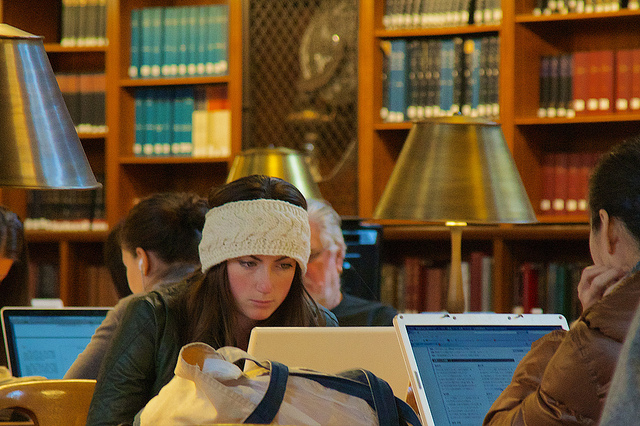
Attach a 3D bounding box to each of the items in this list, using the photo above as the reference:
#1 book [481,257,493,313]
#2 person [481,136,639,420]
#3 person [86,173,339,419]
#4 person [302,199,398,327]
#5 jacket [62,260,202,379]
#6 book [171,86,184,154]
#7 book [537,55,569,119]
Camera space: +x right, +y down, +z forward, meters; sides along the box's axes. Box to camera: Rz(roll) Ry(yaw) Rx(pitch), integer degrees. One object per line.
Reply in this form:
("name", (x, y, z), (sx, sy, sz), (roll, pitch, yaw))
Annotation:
("book", (1.062, 0.445, 5.639), (0.098, 0.343, 0.320), (0, -1, 17))
("person", (0.770, 0.250, 2.785), (0.527, 0.986, 1.099), (0, 3, 11))
("person", (-0.402, 0.337, 3.583), (0.767, 0.893, 0.422), (12, -4, -41))
("person", (0.171, 0.312, 5.128), (0.505, 0.804, 0.734), (-2, -2, 34))
("jacket", (-0.779, 0.442, 3.772), (0.472, 0.341, 0.487), (16, 3, -12))
("book", (-0.943, -0.606, 5.927), (0.064, 0.542, 0.369), (4, 3, -7))
("book", (1.408, -0.771, 5.426), (0.199, 0.380, 0.100), (1, 3, 31))
